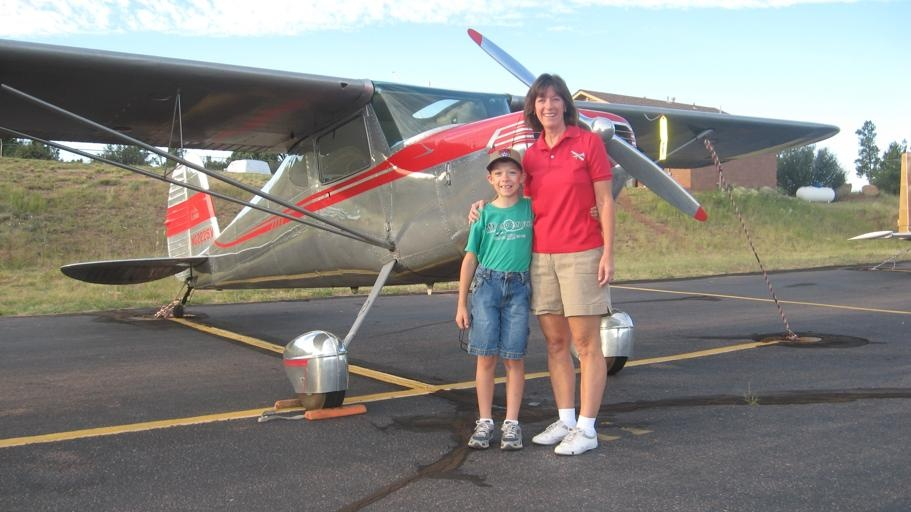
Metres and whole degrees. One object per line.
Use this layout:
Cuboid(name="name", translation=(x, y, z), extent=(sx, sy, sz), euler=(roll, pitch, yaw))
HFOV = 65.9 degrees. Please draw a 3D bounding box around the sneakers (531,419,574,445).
Cuboid(name="sneakers", translation=(0.980, 1.709, 6.793), extent=(0.497, 0.166, 0.167), euler=(-6, -11, -12))
